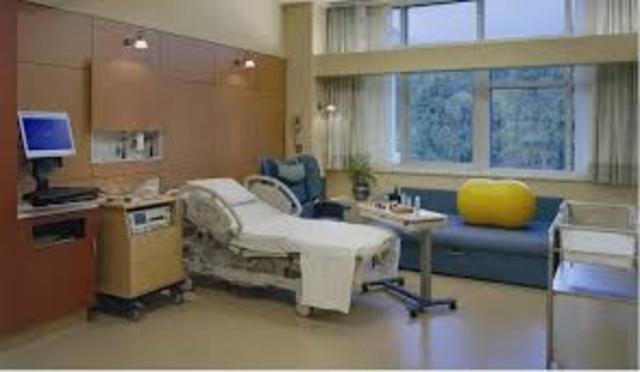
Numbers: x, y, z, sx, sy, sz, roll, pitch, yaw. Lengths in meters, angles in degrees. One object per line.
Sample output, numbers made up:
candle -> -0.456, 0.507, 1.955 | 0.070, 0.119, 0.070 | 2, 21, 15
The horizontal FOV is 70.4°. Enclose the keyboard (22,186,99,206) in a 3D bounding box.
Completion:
keyboard -> -2.929, 0.118, 5.166 | 0.783, 0.187, 0.342 | -7, 11, -31

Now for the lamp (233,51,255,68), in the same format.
lamp -> -1.222, -2.045, 7.448 | 0.415, 0.265, 0.247 | 0, 4, 25

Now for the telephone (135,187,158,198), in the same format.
telephone -> -2.223, 0.082, 5.781 | 0.250, 0.092, 0.068 | 6, 53, -8

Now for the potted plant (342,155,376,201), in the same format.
potted plant -> 0.713, -0.086, 8.319 | 0.786, 0.971, 0.725 | 1, -2, -3

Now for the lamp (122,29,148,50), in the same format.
lamp -> -2.490, -1.962, 6.118 | 0.388, 0.209, 0.197 | 1, 3, 36

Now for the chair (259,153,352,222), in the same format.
chair -> -0.227, 0.181, 6.837 | 1.150, 1.184, 1.130 | 3, 11, 37

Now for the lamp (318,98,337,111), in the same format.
lamp -> 0.109, -1.486, 8.309 | 0.342, 0.219, 0.214 | 0, 2, 26

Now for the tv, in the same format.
tv -> -3.151, -0.419, 5.259 | 0.515, 0.863, 0.329 | -10, 14, -39

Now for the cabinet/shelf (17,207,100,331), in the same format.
cabinet/shelf -> -3.231, 0.803, 5.200 | 0.822, 1.235, 0.919 | 5, 6, 29

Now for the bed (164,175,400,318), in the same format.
bed -> -0.524, 0.678, 6.071 | 2.780, 1.300, 1.637 | 9, 11, 25
